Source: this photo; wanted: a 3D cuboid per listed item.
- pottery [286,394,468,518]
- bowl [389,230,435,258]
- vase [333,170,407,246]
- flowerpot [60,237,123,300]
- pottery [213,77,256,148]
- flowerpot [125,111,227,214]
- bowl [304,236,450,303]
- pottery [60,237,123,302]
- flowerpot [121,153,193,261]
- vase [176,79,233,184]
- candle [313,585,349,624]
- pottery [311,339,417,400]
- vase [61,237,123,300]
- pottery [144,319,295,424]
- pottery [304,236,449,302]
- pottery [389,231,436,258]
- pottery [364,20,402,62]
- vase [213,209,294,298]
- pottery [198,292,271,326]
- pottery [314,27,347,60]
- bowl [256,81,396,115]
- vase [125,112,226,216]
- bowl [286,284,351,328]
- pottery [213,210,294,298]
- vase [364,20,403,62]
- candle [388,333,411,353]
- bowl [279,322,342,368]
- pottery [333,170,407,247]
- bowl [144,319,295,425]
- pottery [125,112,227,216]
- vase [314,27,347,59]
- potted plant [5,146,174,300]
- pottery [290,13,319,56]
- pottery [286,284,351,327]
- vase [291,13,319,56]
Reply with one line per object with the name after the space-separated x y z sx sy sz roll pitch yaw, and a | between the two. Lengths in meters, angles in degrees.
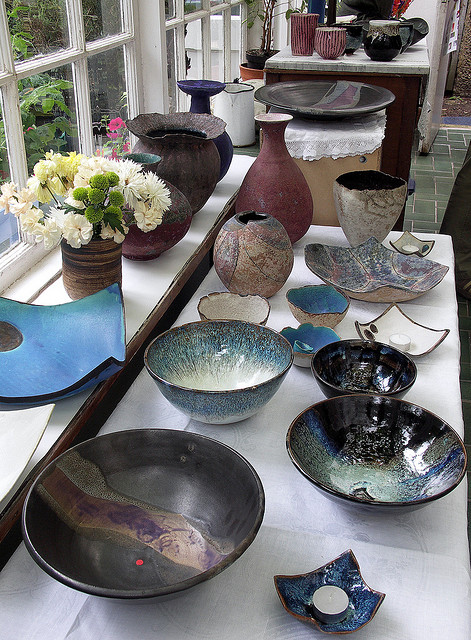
0.165 0.182 0.654 0.176 0.064 0.171 -14 34 -15 | pottery
0.463 -0.189 1.280 0.097 0.041 0.088 -12 36 -22 | bowl
0.353 -0.280 1.301 0.186 0.182 0.177 -13 33 -16 | vase
-0.290 -0.109 0.948 0.111 0.120 0.113 -4 36 -32 | flowerpot
0.009 -1.516 3.630 0.307 0.373 0.398 0 33 12 | pottery
-0.152 -0.439 1.318 0.278 0.277 0.273 -11 28 -24 | flowerpot
0.327 -0.115 1.157 0.337 0.079 0.263 -4 30 -9 | bowl
-0.267 -0.110 0.957 0.115 0.122 0.116 0 30 -5 | pottery
-0.141 -0.253 1.158 0.215 0.200 0.219 2 36 -3 | flowerpot
-0.112 -0.588 1.557 0.223 0.297 0.217 3 21 13 | vase
0.087 0.261 0.451 0.033 0.017 0.031 -7 30 -14 | candle
0.233 0.106 0.892 0.214 0.085 0.207 3 -13 20 | pottery
-0.260 -0.114 0.967 0.116 0.122 0.114 1 31 -4 | vase
0.023 0.124 0.910 0.331 0.321 0.140 -6 68 29 | pottery
0.336 -0.124 1.191 0.231 0.074 0.200 6 27 -8 | pottery
0.464 -0.185 1.284 0.097 0.039 0.087 -6 31 -16 | pottery
0.649 -1.223 2.153 0.146 0.166 0.186 5 35 14 | pottery
0.038 -0.146 1.125 0.186 0.205 0.179 1 36 6 | vase
-0.003 -0.040 0.964 0.093 0.035 0.086 -13 39 -22 | pottery
0.394 -1.196 2.153 0.126 0.105 0.139 -35 51 -28 | pottery
0.361 -0.877 1.908 0.343 0.066 0.327 -3 32 2 | bowl
-0.147 -0.415 1.342 0.283 0.279 0.278 -12 27 -30 | vase
0.169 -0.022 1.004 0.119 0.066 0.122 1 32 -1 | bowl
0.042 -0.144 1.126 0.185 0.205 0.179 5 34 12 | pottery
0.629 -1.212 2.146 0.187 0.161 0.136 13 37 26 | vase
0.304 0.039 0.915 0.038 0.030 0.036 -5 34 1 | candle
0.134 0.040 0.902 0.093 0.037 0.089 7 35 -5 | bowl
0.358 -0.282 1.300 0.182 0.189 0.180 -25 36 -22 | pottery
-0.016 0.112 0.744 0.185 0.080 0.182 -4 13 1 | bowl
-0.138 -0.428 1.346 0.281 0.279 0.277 -17 31 -36 | pottery
0.392 -1.192 2.143 0.140 0.106 0.125 -11 44 -9 | vase
-0.306 -0.185 1.023 0.305 0.300 0.345 16 32 23 | potted plant
0.313 -1.317 2.259 0.139 0.163 0.125 -4 37 -6 | pottery
0.167 -0.028 1.007 0.109 0.056 0.099 -10 33 -15 | pottery
0.309 -1.316 2.256 0.132 0.164 0.120 26 43 30 | vase
